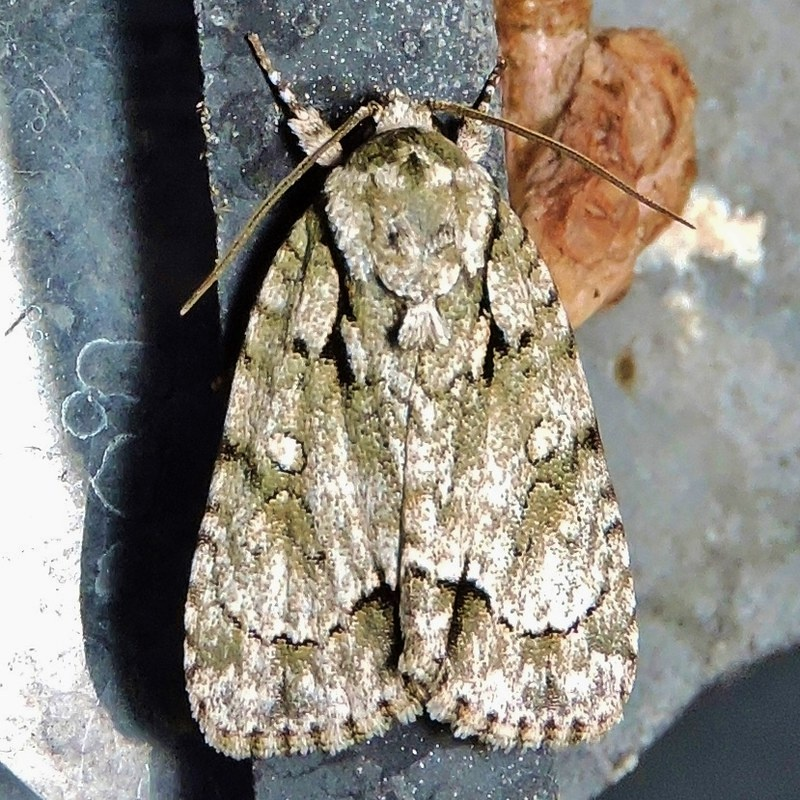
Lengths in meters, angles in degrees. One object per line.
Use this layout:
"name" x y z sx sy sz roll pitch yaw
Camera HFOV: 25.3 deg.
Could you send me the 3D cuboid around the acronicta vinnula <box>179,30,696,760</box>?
"acronicta vinnula" 0.012 0.070 2.973 0.754 0.175 1.010 -1 84 2
